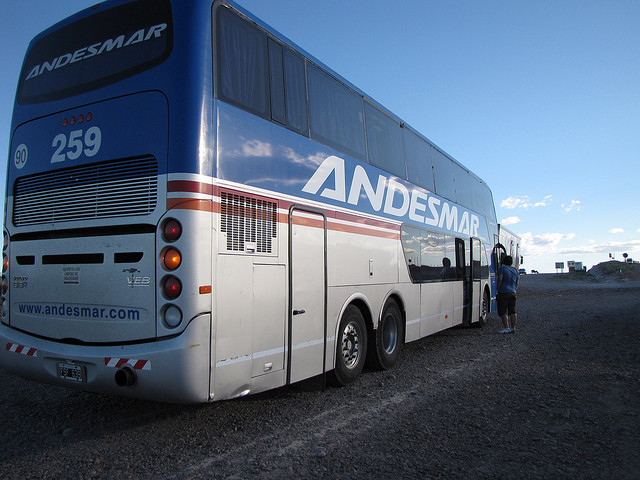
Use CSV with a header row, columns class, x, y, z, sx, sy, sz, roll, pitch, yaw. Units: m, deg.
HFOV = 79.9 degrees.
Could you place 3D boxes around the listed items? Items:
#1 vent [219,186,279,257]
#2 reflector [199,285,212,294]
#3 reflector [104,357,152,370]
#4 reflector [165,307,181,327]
class,x,y,z,sx,sy,sz,roll,pitch,yaw
vent,-0.918,-0.230,4.756,0.097,0.672,0.766,-1,-1,37
reflector,-1.293,0.552,4.319,0.147,0.097,0.008,4,-6,-39
reflector,-2.203,1.399,4.372,0.703,0.117,0.017,-3,-5,21
reflector,-1.656,0.847,4.315,0.190,0.193,0.043,-40,-15,17
